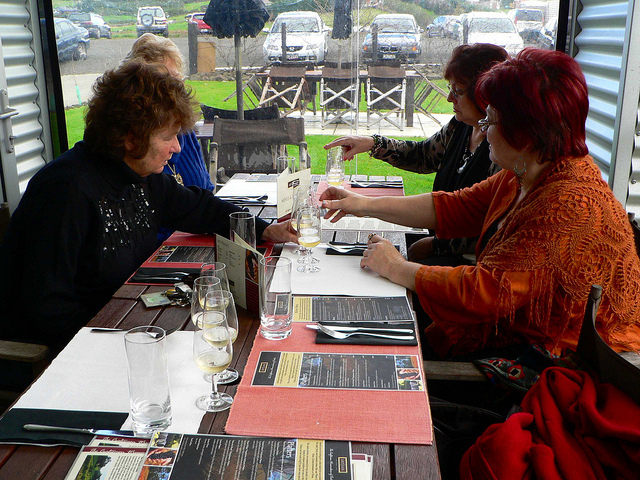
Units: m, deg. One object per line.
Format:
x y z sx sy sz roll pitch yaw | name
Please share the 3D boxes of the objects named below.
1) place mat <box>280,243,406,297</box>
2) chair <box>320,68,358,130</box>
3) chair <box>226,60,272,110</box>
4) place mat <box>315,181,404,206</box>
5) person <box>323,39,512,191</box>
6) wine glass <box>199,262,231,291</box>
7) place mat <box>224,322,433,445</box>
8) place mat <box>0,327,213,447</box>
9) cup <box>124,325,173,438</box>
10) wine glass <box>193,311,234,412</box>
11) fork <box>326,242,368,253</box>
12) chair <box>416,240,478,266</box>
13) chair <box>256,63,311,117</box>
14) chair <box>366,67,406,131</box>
0.073 0.098 1.922 0.437 0.068 0.593 -5 22 -10 | place mat
0.196 -1.530 4.681 0.377 0.665 0.464 1 18 4 | chair
-0.743 -1.751 4.894 0.575 0.342 0.411 -26 48 -3 | chair
0.267 -0.351 3.047 0.581 0.073 0.519 0 22 3 | place mat
0.702 -1.019 3.502 0.883 1.534 0.539 7 55 4 | person
-0.330 0.121 1.425 0.078 0.078 0.079 -7 17 -30 | wine glass
0.036 0.385 1.328 0.531 0.007 0.615 0 15 10 | place mat
-0.558 0.394 1.241 0.256 0.095 0.383 3 24 1 | place mat
-0.412 0.346 1.078 0.095 0.230 0.127 -3 22 -6 | cup
-0.280 0.327 1.169 0.079 0.183 0.082 -3 -8 -16 | wine glass
0.129 0.052 2.113 0.190 0.033 0.029 8 31 -10 | fork
0.775 0.124 2.665 0.275 0.114 0.212 -7 13 5 | chair
-0.394 -1.685 4.830 0.533 0.719 0.570 4 22 2 | chair
0.690 -1.484 4.699 0.371 0.646 0.426 5 21 14 | chair
